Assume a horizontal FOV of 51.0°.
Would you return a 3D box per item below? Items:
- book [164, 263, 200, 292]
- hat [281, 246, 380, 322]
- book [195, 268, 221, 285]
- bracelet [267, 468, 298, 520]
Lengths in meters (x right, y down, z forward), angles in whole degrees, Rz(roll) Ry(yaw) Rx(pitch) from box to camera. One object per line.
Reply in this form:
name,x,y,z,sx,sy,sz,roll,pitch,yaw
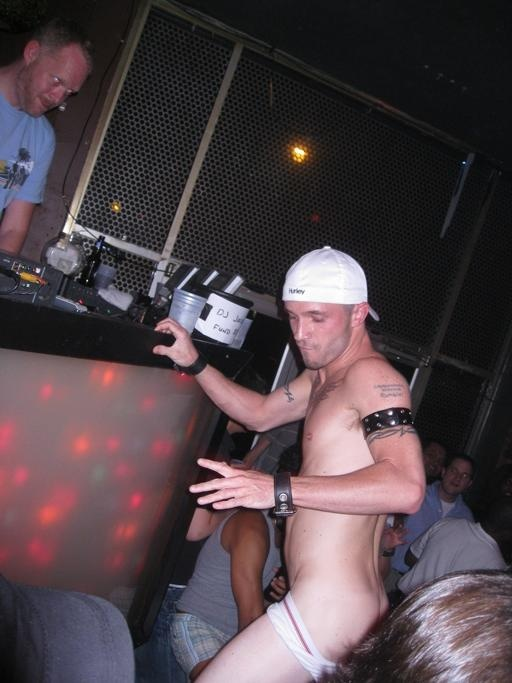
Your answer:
book,-0.332,-0.290,2.402,0.040,0.151,0.160,45,10,-17
hat,0.275,-0.209,1.900,0.230,0.177,0.312,2,-12,38
book,-0.220,-0.293,2.450,0.105,0.093,0.025,7,-21,34
bracelet,0.073,0.410,1.484,0.077,0.111,0.120,1,10,1
